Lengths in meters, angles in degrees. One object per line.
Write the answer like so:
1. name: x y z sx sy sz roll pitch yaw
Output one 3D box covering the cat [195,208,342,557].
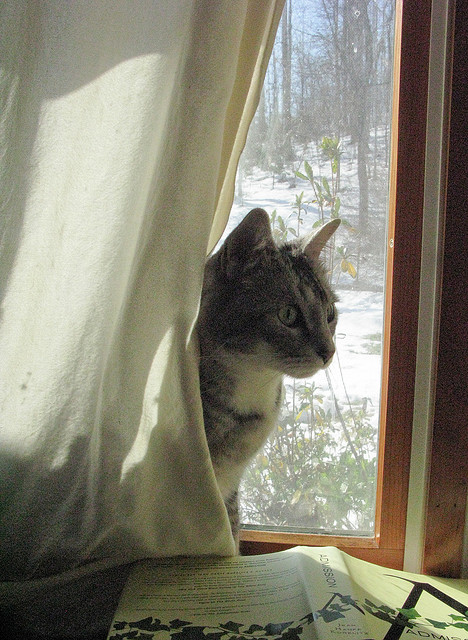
1. cat: 0.051 0.094 0.815 0.217 0.500 0.138 1 3 -8
